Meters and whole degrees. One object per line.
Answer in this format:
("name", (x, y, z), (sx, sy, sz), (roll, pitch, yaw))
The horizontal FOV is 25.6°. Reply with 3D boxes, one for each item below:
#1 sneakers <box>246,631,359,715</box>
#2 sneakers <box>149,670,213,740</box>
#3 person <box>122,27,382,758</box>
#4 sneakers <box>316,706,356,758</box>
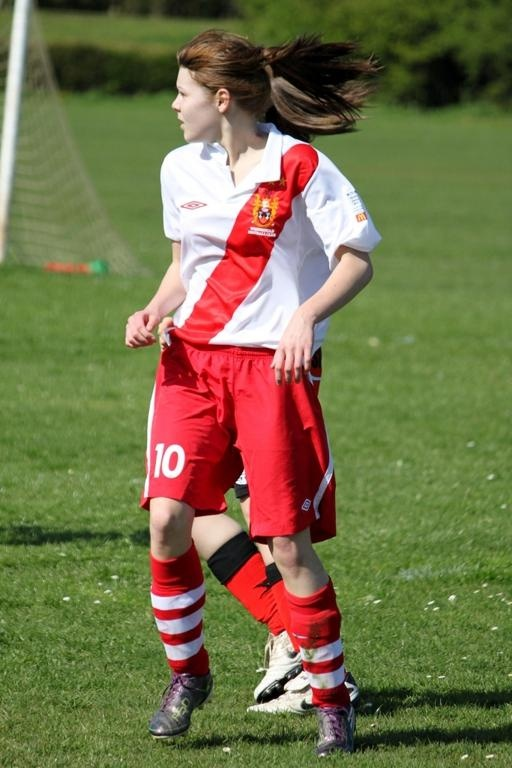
("sneakers", (0.074, 0.824, 3.137), (0.416, 0.255, 0.136), (-8, -14, 17))
("sneakers", (-0.192, 0.794, 2.875), (0.087, 0.100, 0.230), (7, 26, 28))
("person", (-0.034, 0.003, 2.873), (0.613, 1.770, 0.740), (2, 11, -8))
("sneakers", (0.184, 0.847, 2.714), (0.055, 0.066, 0.154), (-3, 3, 6))
